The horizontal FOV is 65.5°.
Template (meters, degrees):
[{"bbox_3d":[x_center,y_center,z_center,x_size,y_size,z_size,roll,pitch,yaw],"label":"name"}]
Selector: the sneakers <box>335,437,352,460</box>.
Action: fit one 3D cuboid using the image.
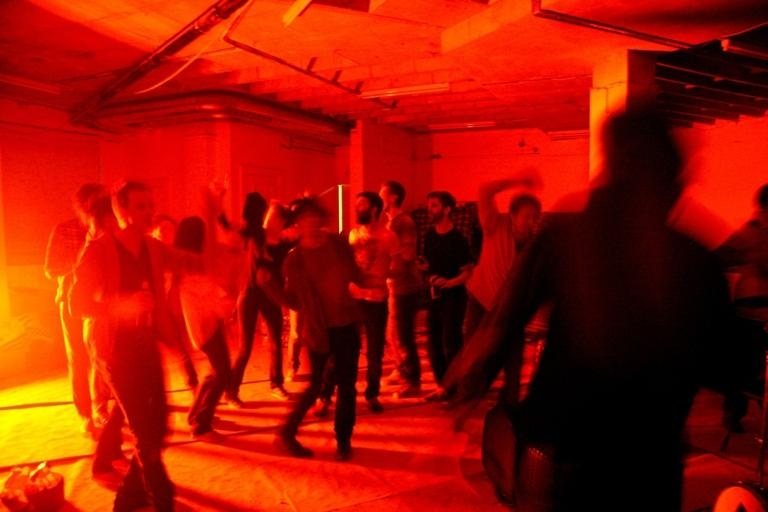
[{"bbox_3d":[-0.339,1.670,5.221,0.202,0.172,0.174,-1,-2,13],"label":"sneakers"}]
